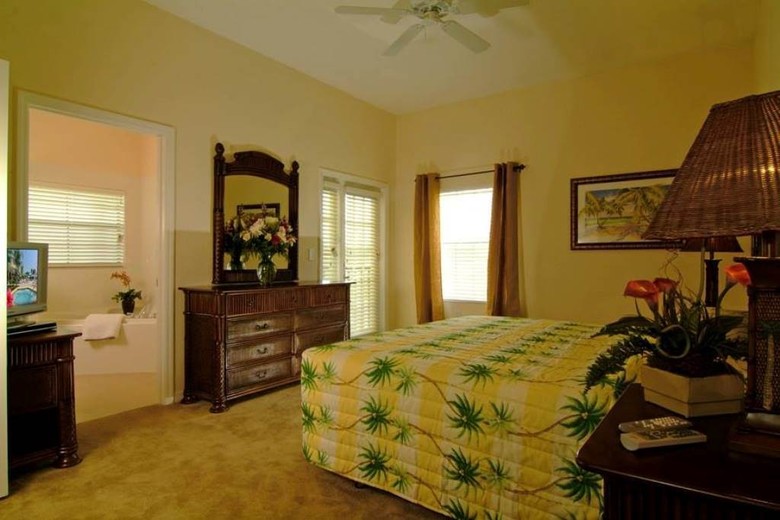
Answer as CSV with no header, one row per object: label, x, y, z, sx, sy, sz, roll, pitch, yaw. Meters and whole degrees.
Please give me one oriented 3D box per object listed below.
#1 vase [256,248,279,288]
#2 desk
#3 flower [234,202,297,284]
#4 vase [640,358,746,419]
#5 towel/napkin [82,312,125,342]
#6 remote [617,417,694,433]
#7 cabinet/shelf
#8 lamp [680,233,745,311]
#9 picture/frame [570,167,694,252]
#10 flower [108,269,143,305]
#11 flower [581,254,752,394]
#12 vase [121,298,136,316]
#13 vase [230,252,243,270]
vase,-1.274,0.099,5.766,0.308,0.538,0.306,0,0,-5
desk,-2.580,1.027,3.918,0.525,1.016,0.443,-8,13,-33
flower,-1.341,-0.145,5.738,0.563,0.641,0.602,-5,-8,44
vase,1.508,0.648,2.543,0.242,0.168,0.338,-3,-7,6
towel/napkin,-3.201,0.756,5.829,0.441,0.282,0.212,-4,11,-19
remote,1.176,0.735,2.337,0.223,0.039,0.115,-7,-6,5
cabinet/shelf,-1.252,0.817,5.615,0.623,1.106,1.779,1,1,38
lamp,2.658,0.052,4.296,0.448,0.614,0.466,-2,-4,31
picture/frame,2.714,-0.560,6.089,1.210,0.882,0.027,-3,7,4
flower,-3.508,0.421,6.989,0.392,0.453,0.341,3,11,-41
flower,1.337,0.268,2.484,0.860,0.360,0.897,-3,6,-24
vase,-3.253,0.600,6.522,0.179,0.201,0.184,-1,-2,23
vase,-1.614,0.018,5.494,0.134,0.179,0.046,-6,12,-24
